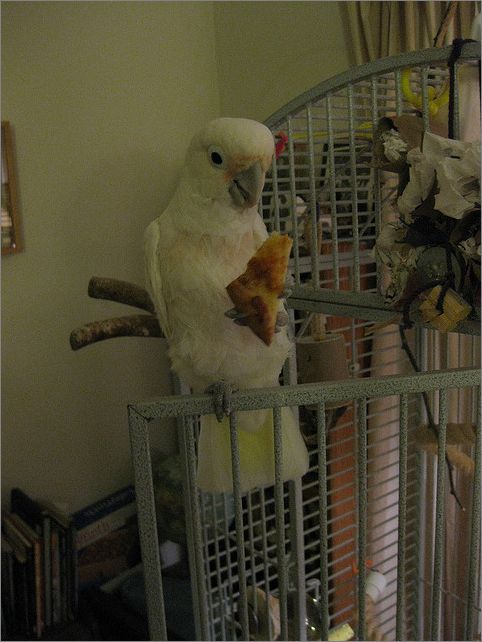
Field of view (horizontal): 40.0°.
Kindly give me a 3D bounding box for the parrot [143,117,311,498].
[{"bbox_3d":[-0.026,-0.008,1.119,0.273,0.603,0.301,4,9,36],"label":"parrot"}]
